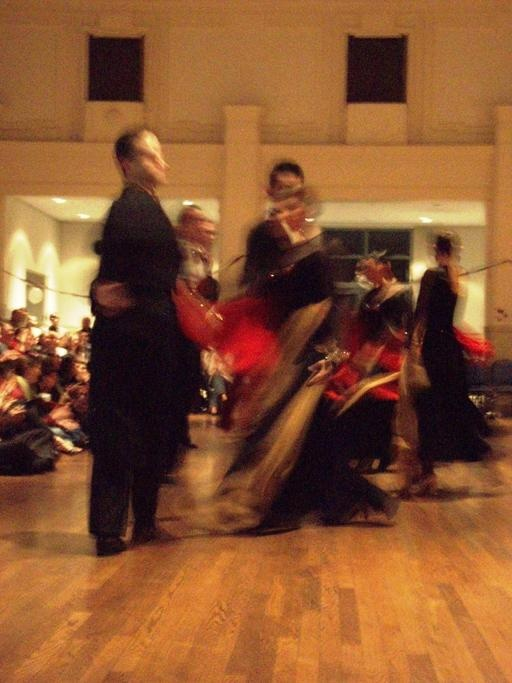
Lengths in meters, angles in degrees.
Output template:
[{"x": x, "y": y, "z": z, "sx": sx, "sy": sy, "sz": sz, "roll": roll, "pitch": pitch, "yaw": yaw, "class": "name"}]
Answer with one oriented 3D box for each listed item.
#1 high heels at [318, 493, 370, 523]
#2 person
[{"x": 0.335, "y": 0.629, "z": 2.318, "sx": 0.166, "sy": 0.103, "sz": 0.060, "roll": -8, "pitch": 12, "yaw": 3, "class": "high heels"}, {"x": 0.257, "y": -0.001, "z": 2.660, "sx": 0.850, "sy": 1.396, "sz": 2.038, "roll": 3, "pitch": 2, "yaw": 30, "class": "person"}]
